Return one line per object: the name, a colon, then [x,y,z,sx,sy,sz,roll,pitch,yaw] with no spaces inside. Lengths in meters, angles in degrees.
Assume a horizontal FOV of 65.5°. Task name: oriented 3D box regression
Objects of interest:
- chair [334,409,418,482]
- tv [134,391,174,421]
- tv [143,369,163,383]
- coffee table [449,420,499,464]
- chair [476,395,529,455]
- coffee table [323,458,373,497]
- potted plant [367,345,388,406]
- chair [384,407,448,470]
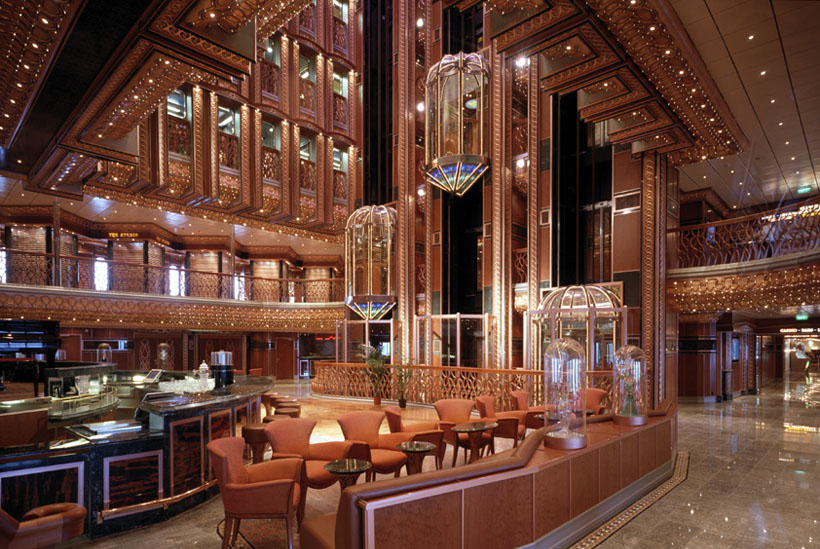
chair: [-0.530,2.655,10.195,1.004,1.153,1.050,4,-10,-38]
tv: [-4.025,2.020,9.826,0.633,0.466,0.659,-4,-11,17]
tv: [-5.011,1.961,12.432,0.334,0.267,0.645,3,-11,-22]
coffee table: [1.060,2.668,10.525,0.684,0.737,0.650,0,-6,-4]
chair: [1.596,2.651,11.490,0.882,1.011,0.811,-4,-7,27]
coffee table: [-0.859,2.778,8.955,0.464,0.519,0.484,0,-2,5]
potted plant: [-0.922,2.850,18.103,0.617,1.606,1.025,0,-10,-5]
chair: [0.085,2.579,10.551,0.969,1.090,0.946,-1,-4,-5]
